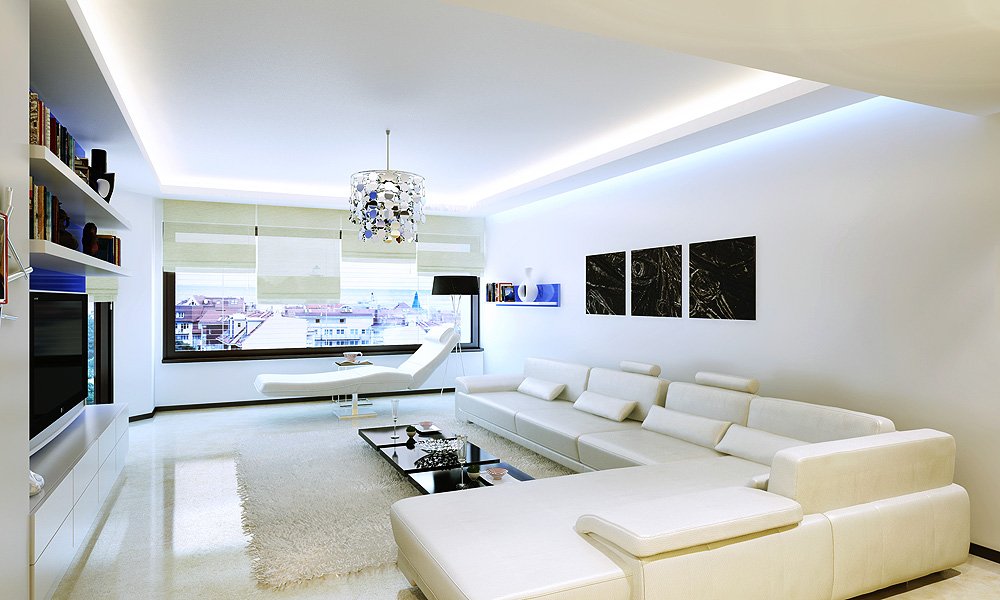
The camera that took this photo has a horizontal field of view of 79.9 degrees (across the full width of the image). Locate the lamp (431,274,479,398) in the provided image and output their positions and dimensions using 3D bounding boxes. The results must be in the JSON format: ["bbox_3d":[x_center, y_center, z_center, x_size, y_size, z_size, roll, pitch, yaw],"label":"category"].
[{"bbox_3d":[-0.712,0.319,9.246,0.706,1.494,0.660,0,11,-5],"label":"lamp"}]

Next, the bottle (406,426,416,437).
[{"bbox_3d":[-0.940,1.375,6.235,0.099,0.091,0.100,-2,3,-43],"label":"bottle"}]

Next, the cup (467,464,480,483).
[{"bbox_3d":[-0.235,1.538,5.287,0.151,0.133,0.140,0,-2,0],"label":"cup"}]

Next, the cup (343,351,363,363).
[{"bbox_3d":[-2.215,0.849,8.850,0.209,0.098,0.234,2,-1,-40],"label":"cup"}]

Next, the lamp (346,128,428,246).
[{"bbox_3d":[-1.213,-1.269,6.393,0.819,1.092,0.822,-6,8,-27],"label":"lamp"}]

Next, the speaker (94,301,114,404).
[{"bbox_3d":[-4.834,0.622,7.253,0.212,0.958,0.422,2,0,-34],"label":"speaker"}]
